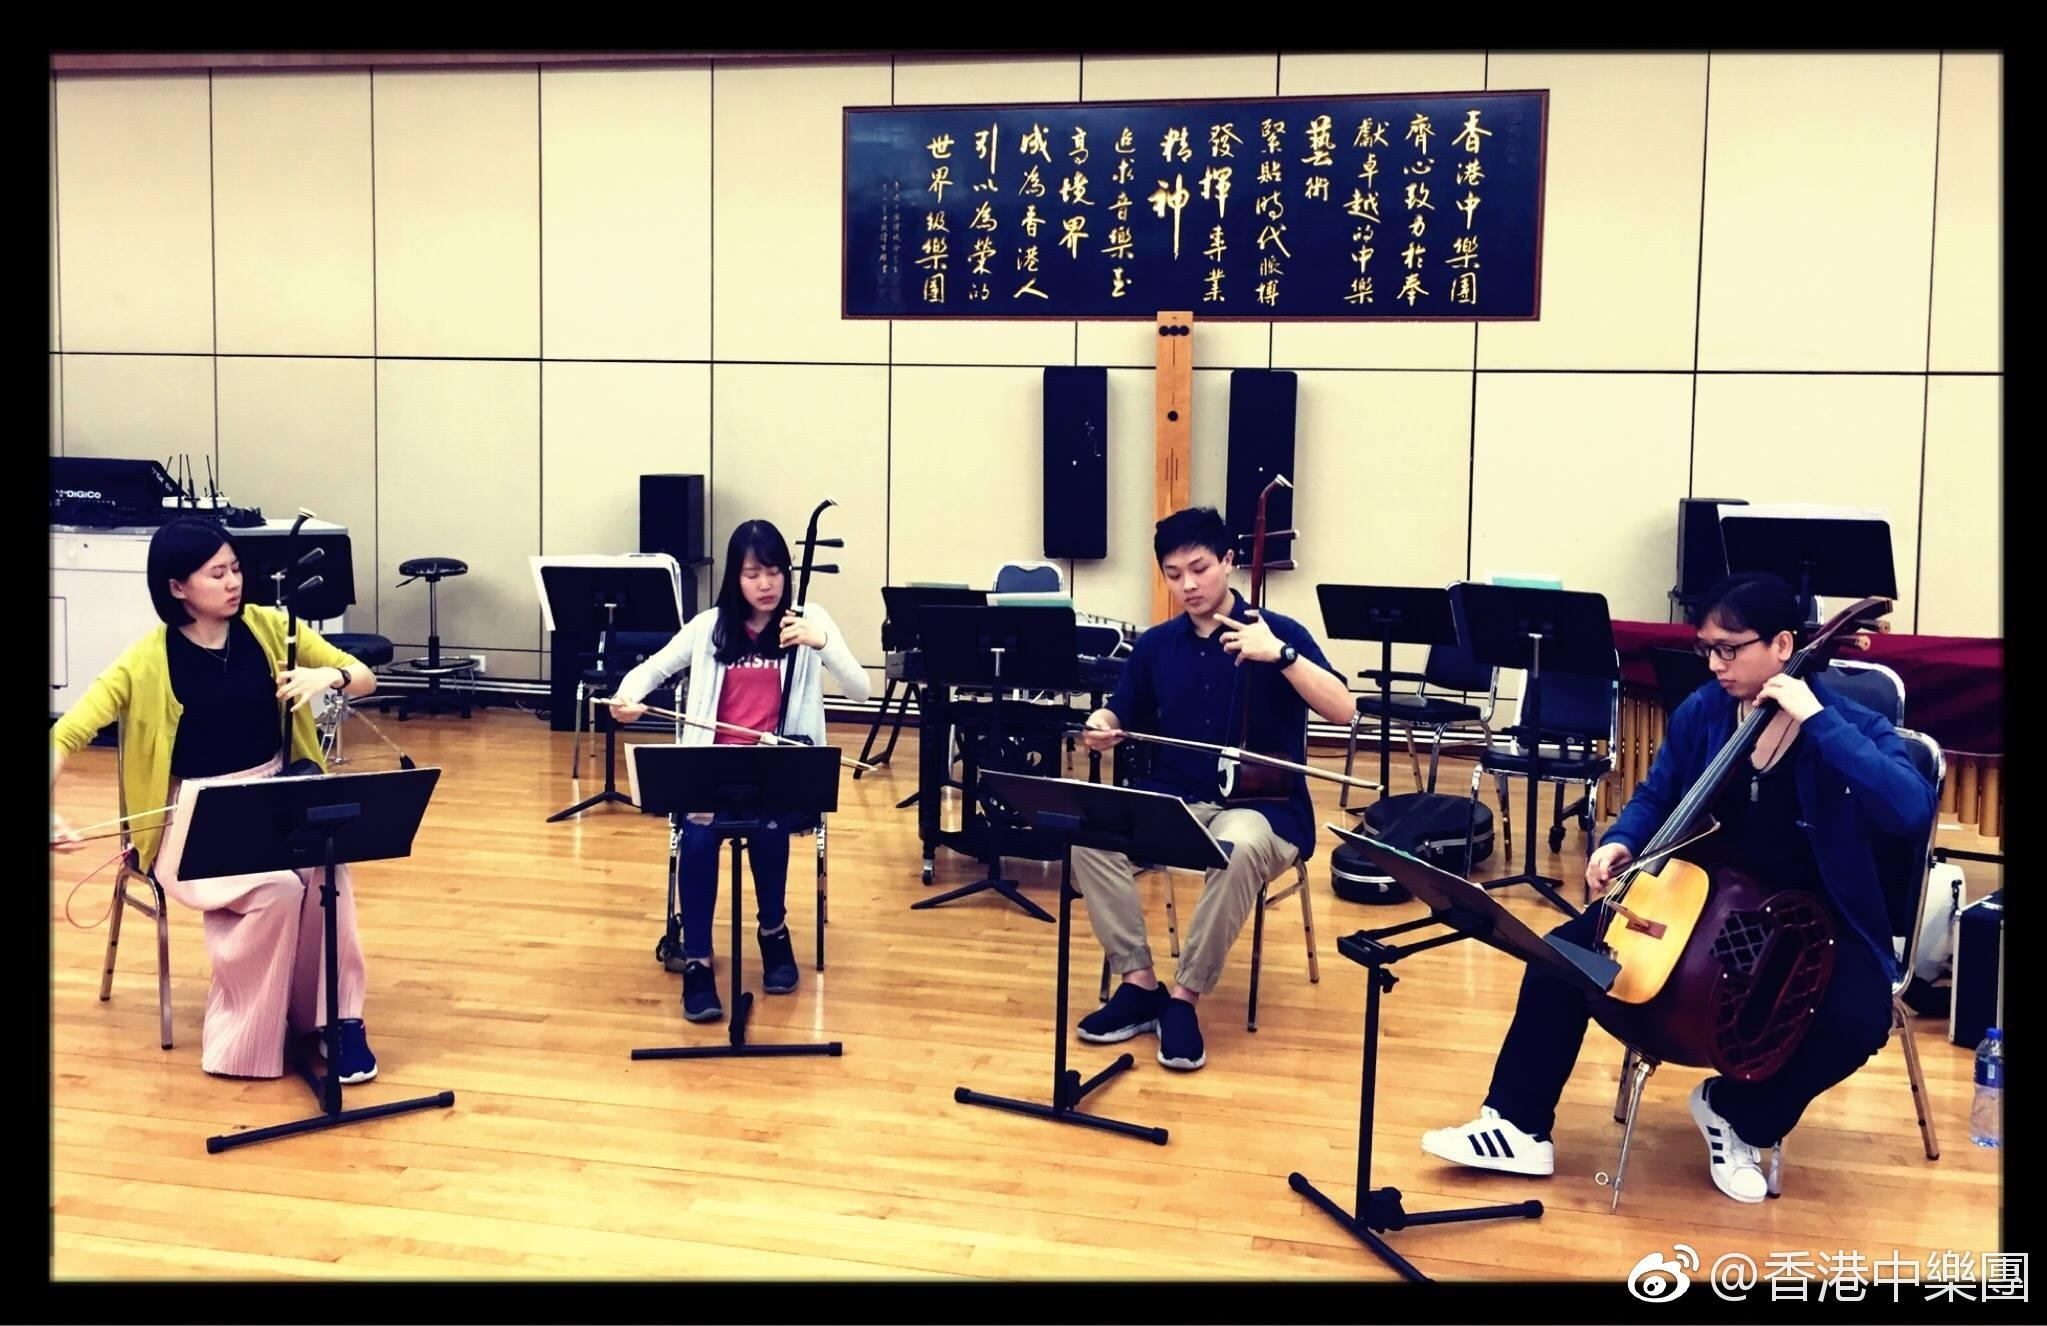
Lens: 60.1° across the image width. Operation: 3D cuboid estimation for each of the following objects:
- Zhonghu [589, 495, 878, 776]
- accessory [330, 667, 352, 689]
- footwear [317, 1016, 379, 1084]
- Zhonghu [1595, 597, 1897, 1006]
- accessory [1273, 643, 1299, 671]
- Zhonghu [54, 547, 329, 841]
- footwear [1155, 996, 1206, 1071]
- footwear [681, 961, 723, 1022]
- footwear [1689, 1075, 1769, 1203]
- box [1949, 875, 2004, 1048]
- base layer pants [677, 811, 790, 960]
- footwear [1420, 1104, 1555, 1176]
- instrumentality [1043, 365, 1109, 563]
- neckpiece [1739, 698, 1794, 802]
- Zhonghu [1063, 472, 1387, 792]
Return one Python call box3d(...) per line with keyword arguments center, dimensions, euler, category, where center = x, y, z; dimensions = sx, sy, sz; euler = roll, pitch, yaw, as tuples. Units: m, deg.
box3d(center=(-0.958, -0.134, 6.452), dimensions=(0.752, 0.911, 0.630), euler=(3, 12, -4), category="Zhonghu")
box3d(center=(-2.214, 0.051, 5.772), dimensions=(0.070, 0.070, 0.045), euler=(-2, 3, 32), category="accessory")
box3d(center=(-2.157, 1.241, 5.664), dimensions=(0.125, 0.115, 0.281), euler=(-3, 9, -36), category="footwear")
box3d(center=(1.933, 0.412, 5.222), dimensions=(0.729, 1.217, 0.778), euler=(-6, 13, -29), category="Zhonghu")
box3d(center=(0.872, -0.020, 5.830), dimensions=(0.091, 0.093, 0.063), euler=(-2, 2, 38), category="accessory")
box3d(center=(-2.649, 0.049, 5.660), dimensions=(0.799, 1.023, 0.605), euler=(-1, 15, -32), category="Zhonghu")
box3d(center=(0.529, 1.215, 5.841), dimensions=(0.155, 0.199, 0.170), euler=(1, 8, 5), category="footwear")
box3d(center=(-1.103, 1.126, 6.104), dimensions=(0.135, 0.178, 0.152), euler=(-1, 8, -11), category="footwear")
box3d(center=(2.058, 1.393, 5.235), dimensions=(0.149, 0.357, 0.143), euler=(-17, -38, 4), category="footwear")
box3d(center=(3.221, 1.052, 5.976), dimensions=(0.145, 0.477, 0.251), euler=(5, 10, 27), category="box")
box3d(center=(-1.037, 0.771, 6.274), dimensions=(0.239, 0.494, 0.390), euler=(6, 10, 33), category="base layer pants")
box3d(center=(1.391, 1.428, 5.324), dimensions=(0.417, 0.192, 0.167), euler=(8, -5, 8), category="footwear")
box3d(center=(0.270, -1.078, 9.840), dimensions=(0.429, 1.025, 0.109), euler=(-1, 5, -23), category="instrumentality")
box3d(center=(2.196, 0.241, 5.210), dimensions=(0.124, 0.217, 0.062), euler=(20, 17, 15), category="neckpiece")
box3d(center=(0.661, -0.096, 5.928), dimensions=(0.885, 0.827, 0.420), euler=(1, 9, 3), category="Zhonghu")
